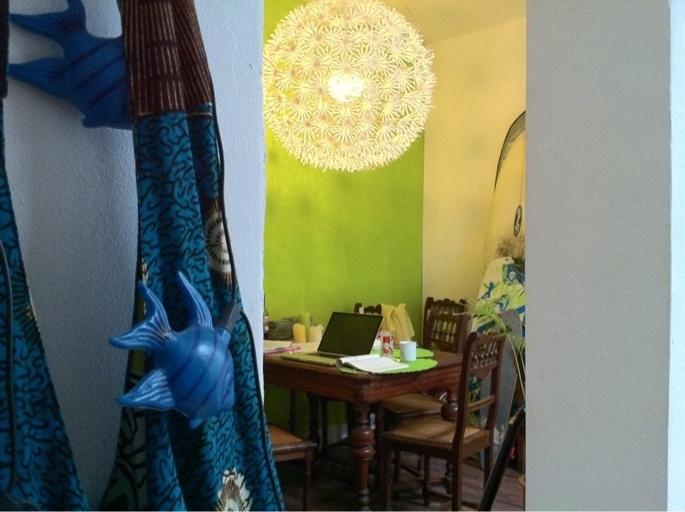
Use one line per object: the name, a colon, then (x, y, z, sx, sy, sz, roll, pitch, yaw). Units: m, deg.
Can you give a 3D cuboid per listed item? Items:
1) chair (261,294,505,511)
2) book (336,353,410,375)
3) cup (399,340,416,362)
chair: (0.251, 0.698, 3.037, 1.041, 0.932, 1.008, 4, 5, 31)
book: (0.151, 0.455, 2.682, 0.316, 0.047, 0.221, 0, 5, -23)
cup: (0.295, 0.427, 2.872, 0.053, 0.071, 0.092, -2, -4, 19)
